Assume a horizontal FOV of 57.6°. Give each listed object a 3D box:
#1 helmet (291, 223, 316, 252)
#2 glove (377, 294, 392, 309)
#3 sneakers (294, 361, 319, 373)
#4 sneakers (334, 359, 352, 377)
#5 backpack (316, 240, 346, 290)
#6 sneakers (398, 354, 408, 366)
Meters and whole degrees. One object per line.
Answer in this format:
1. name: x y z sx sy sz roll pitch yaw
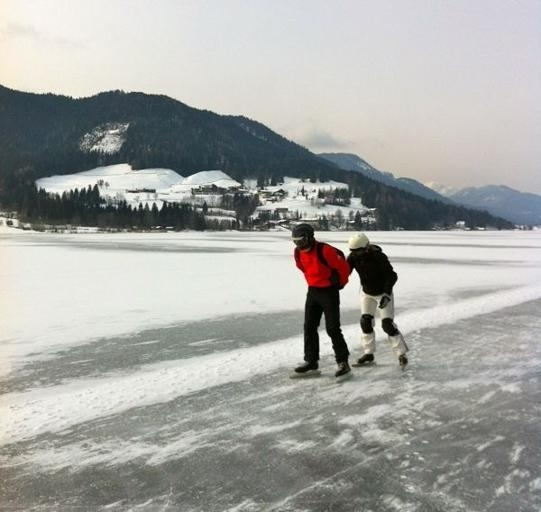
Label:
1. helmet: 0.425 -0.242 6.247 0.293 0.340 0.426 0 3 2
2. glove: 1.620 0.639 6.961 0.169 0.226 0.244 0 3 13
3. sneakers: 0.499 1.512 6.755 0.356 0.204 0.136 0 -1 -10
4. sneakers: 0.958 1.507 6.543 0.094 0.140 0.311 -8 -7 21
5. backpack: 0.804 0.113 6.335 0.523 0.667 0.344 4 -5 -43
6. sneakers: 1.892 1.490 7.017 0.120 0.157 0.135 -1 -1 -9
